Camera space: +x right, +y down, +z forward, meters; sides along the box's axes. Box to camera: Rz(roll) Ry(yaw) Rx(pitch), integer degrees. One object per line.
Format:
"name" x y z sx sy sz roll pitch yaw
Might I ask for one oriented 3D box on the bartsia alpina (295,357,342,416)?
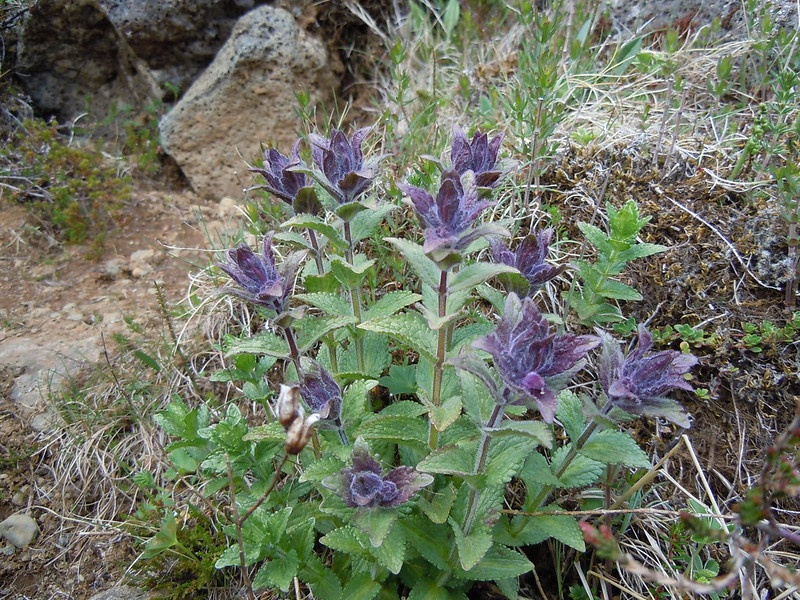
"bartsia alpina" -0.474 0.515 3.905 0.220 0.353 0.175 14 48 22

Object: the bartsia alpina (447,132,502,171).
"bartsia alpina" 0.422 -0.902 3.988 0.247 0.175 0.238 10 30 29
